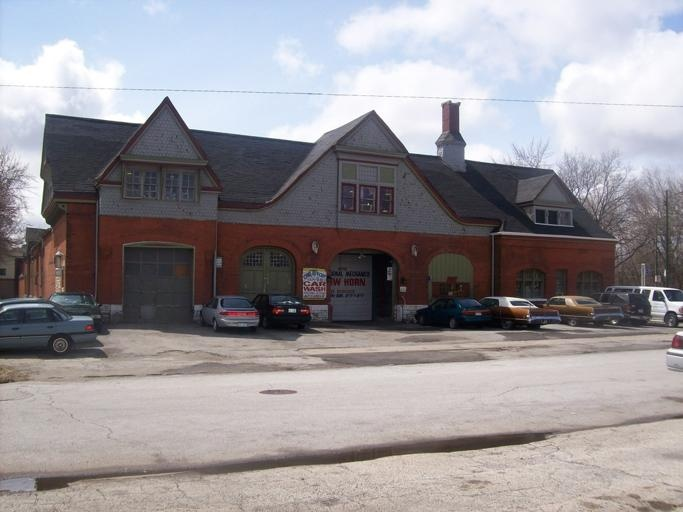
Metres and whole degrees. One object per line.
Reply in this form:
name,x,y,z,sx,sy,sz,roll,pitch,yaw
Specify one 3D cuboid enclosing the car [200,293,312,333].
car,-3.734,2.391,28.542,4.000,1.570,2.822,-1,3,-40
